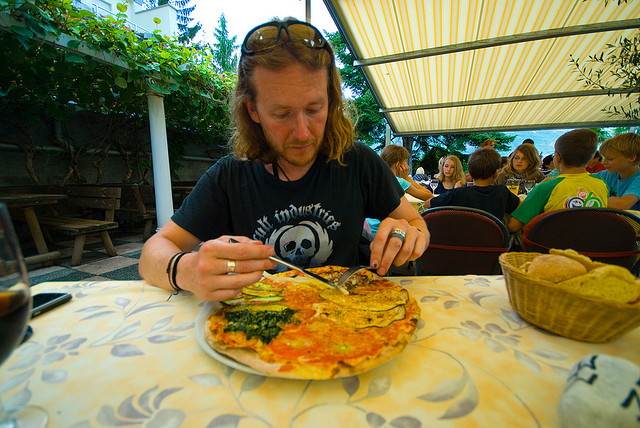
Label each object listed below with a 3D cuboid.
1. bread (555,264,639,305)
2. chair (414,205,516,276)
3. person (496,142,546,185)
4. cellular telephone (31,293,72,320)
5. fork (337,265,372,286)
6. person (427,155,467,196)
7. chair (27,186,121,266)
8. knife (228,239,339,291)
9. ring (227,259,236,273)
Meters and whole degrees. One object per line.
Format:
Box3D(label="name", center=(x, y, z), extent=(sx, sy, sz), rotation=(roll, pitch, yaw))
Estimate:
Box3D(label="bread", center=(1.311, 0.309, 1.796), extent=(0.335, 0.159, 0.159), rotation=(7, 13, 21))
Box3D(label="chair", center=(1.146, 0.222, 3.219), extent=(0.670, 0.934, 0.649), rotation=(1, 37, 13))
Box3D(label="person", center=(3.226, -0.717, 6.037), extent=(0.752, 0.655, 0.516), rotation=(-4, -5, 36))
Box3D(label="cellular telephone", center=(-1.413, 0.477, 1.994), extent=(0.133, 0.031, 0.129), rotation=(-10, 19, -43))
Box3D(label="fork", center=(0.219, 0.315, 2.166), extent=(0.059, 0.063, 0.442), rotation=(21, 17, 21))
Box3D(label="person", center=(2.308, -0.692, 6.810), extent=(0.724, 0.671, 0.390), rotation=(9, 15, 29))
Box3D(label="chair", center=(-3.914, -0.015, 5.831), extent=(2.147, 0.949, 0.718), rotation=(11, 22, 34))
Box3D(label="knife", center=(-0.218, 0.296, 2.178), extent=(0.466, 0.054, 0.067), rotation=(29, -14, -8))
Box3D(label="ring", center=(-0.453, 0.269, 1.941), extent=(0.035, 0.066, 0.025), rotation=(0, 13, -9))
